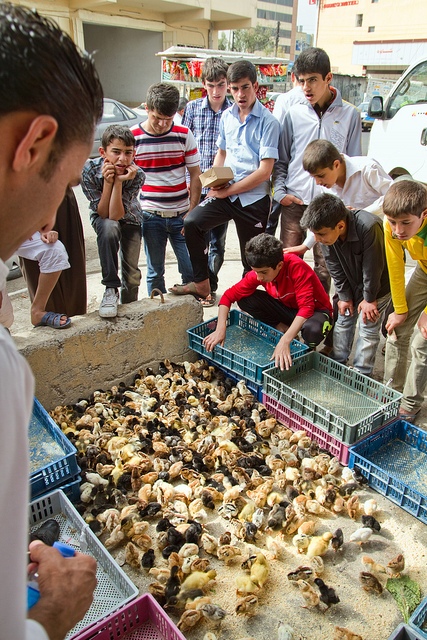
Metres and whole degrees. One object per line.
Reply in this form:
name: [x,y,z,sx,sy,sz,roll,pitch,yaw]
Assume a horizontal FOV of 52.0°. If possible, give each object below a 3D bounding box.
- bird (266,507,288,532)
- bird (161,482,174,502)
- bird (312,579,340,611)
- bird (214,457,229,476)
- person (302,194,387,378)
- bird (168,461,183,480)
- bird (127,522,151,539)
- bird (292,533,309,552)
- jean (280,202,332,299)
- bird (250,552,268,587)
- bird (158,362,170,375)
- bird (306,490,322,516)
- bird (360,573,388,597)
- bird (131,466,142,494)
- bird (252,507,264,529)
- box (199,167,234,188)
bird: [0.376,1.179,2.615,0.077,0.050,0.117,5,39,36]
bird: [-0.302,1.097,2.837,0.058,0.078,0.033,-18,-18,8]
bird: [0.559,1.364,2.225,0.079,0.143,0.125,-33,-4,-4]
bird: [0.052,1.022,3.055,0.031,0.091,0.084,-27,-11,-8]
person: [1.243,-0.251,4.106,0.773,1.865,0.625,0,27,14]
bird: [-0.258,1.029,3.008,0.064,0.116,0.038,30,-8,25]
bird: [-0.433,1.219,2.565,0.116,0.074,0.041,-20,-1,-14]
bird: [0.488,1.245,2.463,0.074,0.102,0.076,-6,0,15]
jean: [1.145,-0.788,5.172,0.524,1.120,0.507,-18,25,-40]
bird: [0.237,1.286,2.265,0.072,0.114,0.140,2,24,1]
bird: [-0.476,0.462,4.196,0.066,0.157,0.048,-35,-25,-12]
bird: [0.623,1.164,2.781,0.099,0.101,0.145,-4,19,-7]
bird: [0.817,1.367,2.253,0.099,0.089,0.051,-12,11,43]
bird: [-0.504,1.060,2.893,0.054,0.159,0.063,-3,12,-5]
bird: [0.266,1.179,2.620,0.037,0.115,0.063,10,-13,-29]
box: [0.023,-1.513,4.643,0.350,0.198,0.261,0,19,4]
